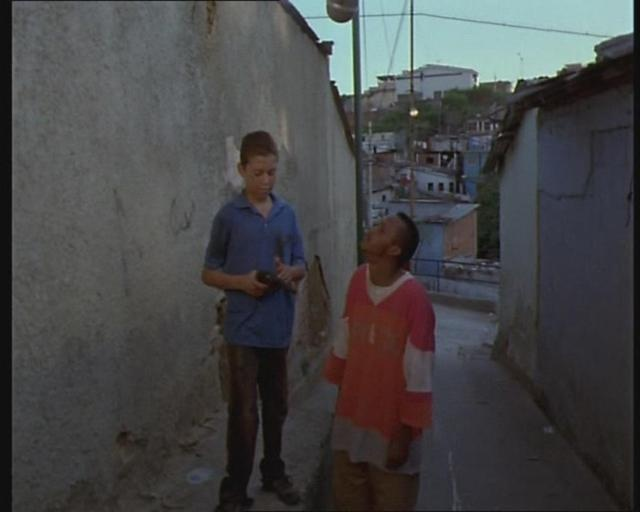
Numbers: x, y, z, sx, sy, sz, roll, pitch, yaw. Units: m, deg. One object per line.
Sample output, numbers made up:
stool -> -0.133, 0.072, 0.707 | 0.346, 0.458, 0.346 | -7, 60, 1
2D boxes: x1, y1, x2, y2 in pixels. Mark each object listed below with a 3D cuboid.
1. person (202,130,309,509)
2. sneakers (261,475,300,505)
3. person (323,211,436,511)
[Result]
person -> -0.332, 0.353, 3.903 | 0.521, 1.970, 0.219 | -2, 7, -12
sneakers -> -0.197, 1.237, 3.985 | 0.239, 0.126, 0.093 | -5, -6, 36
person -> 0.281, 0.556, 3.670 | 0.534, 1.517, 0.193 | 0, 6, 9
